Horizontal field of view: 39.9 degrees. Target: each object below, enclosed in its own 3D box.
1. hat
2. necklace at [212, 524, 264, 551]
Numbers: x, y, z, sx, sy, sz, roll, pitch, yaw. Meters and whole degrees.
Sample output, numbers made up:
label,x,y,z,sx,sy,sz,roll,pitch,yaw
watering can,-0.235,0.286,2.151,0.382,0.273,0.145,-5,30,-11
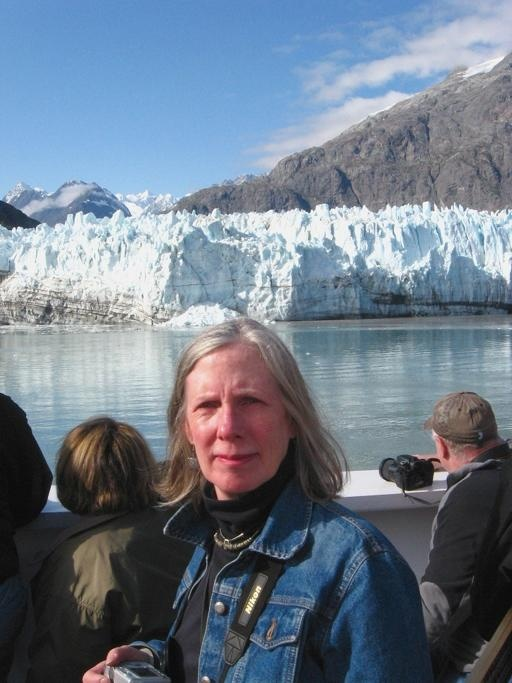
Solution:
label,x,y,z,sx,sy,sz,roll,pitch,yaw
hat,0.499,0.177,1.709,0.108,0.086,0.151,-6,13,-2
necklace,-0.036,0.300,1.087,0.051,0.020,0.058,-3,11,33
